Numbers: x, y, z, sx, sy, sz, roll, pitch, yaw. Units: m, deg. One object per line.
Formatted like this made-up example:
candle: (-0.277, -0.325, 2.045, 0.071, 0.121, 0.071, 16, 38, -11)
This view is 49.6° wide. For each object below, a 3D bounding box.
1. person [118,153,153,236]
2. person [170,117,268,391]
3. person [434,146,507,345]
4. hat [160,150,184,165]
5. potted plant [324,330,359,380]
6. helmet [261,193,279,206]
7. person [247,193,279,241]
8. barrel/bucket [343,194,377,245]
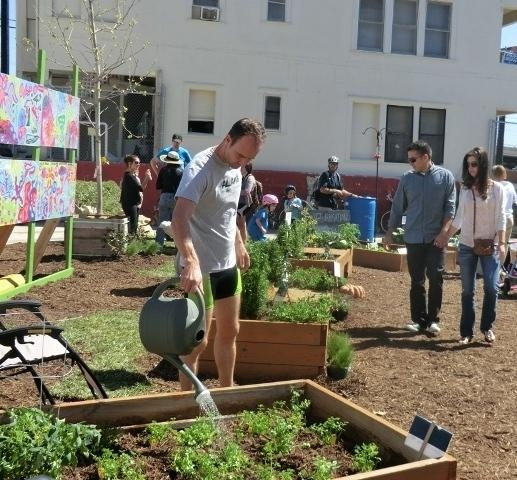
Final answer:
person: (-2.400, -0.852, 10.529, 0.427, 1.513, 0.743, 1, 5, -14)
person: (-0.257, 0.138, 3.235, 0.483, 1.677, 0.775, 7, 6, 40)
person: (2.417, 0.060, 6.177, 0.600, 2.154, 0.504, 4, 5, 20)
hat: (-1.636, -1.533, 10.329, 0.293, 0.101, 0.310, 8, 22, -42)
potted plant: (0.641, 1.029, 4.810, 0.304, 0.422, 0.316, 6, -18, -21)
helmet: (0.158, -0.717, 9.851, 0.259, 0.218, 0.212, 14, 15, 35)
person: (0.054, -0.185, 9.350, 0.341, 1.189, 0.375, 7, 2, 4)
barrel/bucket: (2.405, -0.521, 13.112, 0.822, 1.727, 0.930, 0, 3, 6)
